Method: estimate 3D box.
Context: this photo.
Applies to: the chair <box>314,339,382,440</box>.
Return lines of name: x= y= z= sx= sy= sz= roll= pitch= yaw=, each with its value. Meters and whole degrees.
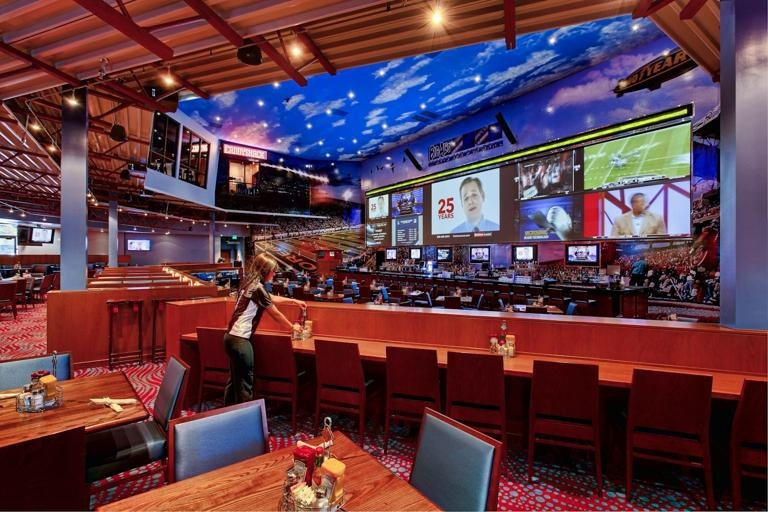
chair: x=-0.512 y=1.865 z=7.211 sx=0.932 sy=1.158 sz=0.781 roll=-3 pitch=-1 yaw=-2

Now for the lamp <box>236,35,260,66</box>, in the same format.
lamp: x=-2.250 y=-3.363 z=8.262 sx=0.404 sy=0.290 sz=0.424 roll=-2 pitch=-1 yaw=-29

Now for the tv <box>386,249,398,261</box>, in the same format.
tv: x=0.314 y=-0.046 z=17.871 sx=0.422 sy=0.408 sz=0.056 roll=0 pitch=3 yaw=34

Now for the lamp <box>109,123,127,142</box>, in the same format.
lamp: x=-5.491 y=-2.563 z=10.259 sx=0.225 sy=0.451 sz=0.698 roll=-2 pitch=-1 yaw=-24

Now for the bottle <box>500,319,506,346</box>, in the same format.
bottle: x=1.725 y=1.070 z=7.090 sx=0.110 sy=0.302 sz=0.205 roll=-3 pitch=-1 yaw=14

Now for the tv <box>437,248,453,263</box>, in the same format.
tv: x=1.964 y=-0.053 z=15.960 sx=0.163 sy=0.388 sz=0.628 roll=-2 pitch=-1 yaw=-39

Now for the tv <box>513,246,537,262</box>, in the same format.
tv: x=3.752 y=-0.085 z=13.147 sx=0.363 sy=0.445 sz=0.653 roll=5 pitch=-7 yaw=-38

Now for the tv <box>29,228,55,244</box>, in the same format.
tv: x=-14.339 y=-0.856 z=20.804 sx=0.298 sy=0.690 sz=1.343 roll=-2 pitch=-1 yaw=-11
